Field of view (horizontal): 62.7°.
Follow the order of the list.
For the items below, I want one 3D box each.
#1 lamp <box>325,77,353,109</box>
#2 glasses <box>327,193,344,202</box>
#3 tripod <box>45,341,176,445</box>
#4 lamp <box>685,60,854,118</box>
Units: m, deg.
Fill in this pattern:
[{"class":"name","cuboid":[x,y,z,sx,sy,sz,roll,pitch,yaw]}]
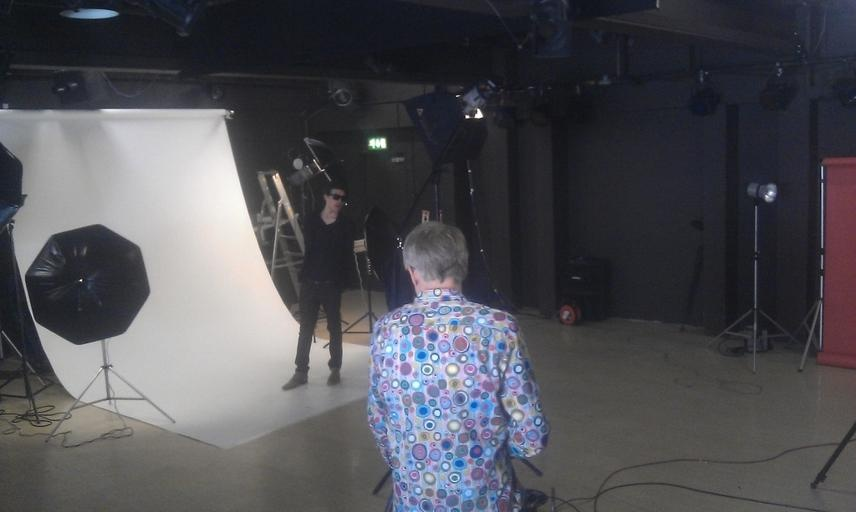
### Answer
[{"class":"lamp","cuboid":[-1.467,-2.712,11.815,0.463,0.391,0.988,-1,6,-7]},{"class":"glasses","cuboid":[-1.076,-0.693,8.333,0.160,0.080,0.052,-3,7,-24]},{"class":"tripod","cuboid":[-3.715,1.437,8.014,1.179,1.083,1.354,-5,8,-40]},{"class":"lamp","cuboid":[4.428,-2.158,9.173,1.957,0.577,0.455,4,7,30]}]
